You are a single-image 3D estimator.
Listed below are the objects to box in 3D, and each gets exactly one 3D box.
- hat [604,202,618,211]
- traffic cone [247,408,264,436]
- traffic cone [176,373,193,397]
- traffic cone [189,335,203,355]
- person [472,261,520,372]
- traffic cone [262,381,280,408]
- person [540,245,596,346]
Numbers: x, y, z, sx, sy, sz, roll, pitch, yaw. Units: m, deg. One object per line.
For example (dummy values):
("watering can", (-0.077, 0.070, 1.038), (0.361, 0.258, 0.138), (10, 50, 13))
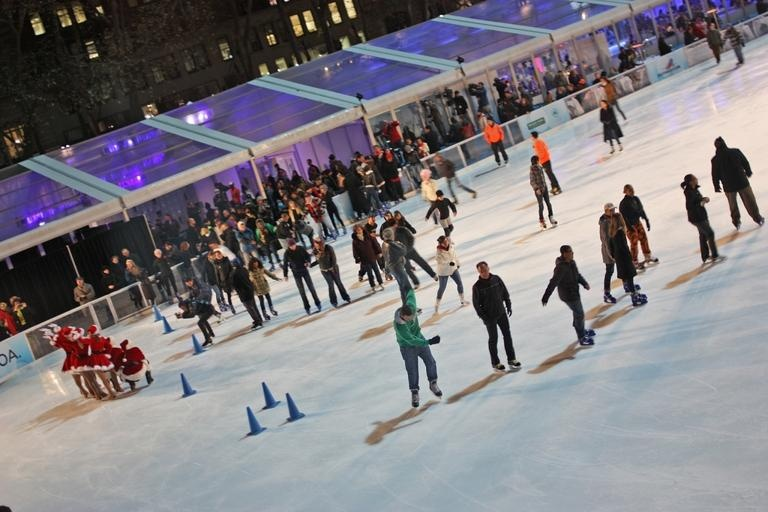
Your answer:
("hat", (5.788, -1.275, 22.972), (0.234, 0.175, 0.320), (-11, 7, -29))
("traffic cone", (-3.457, 4.219, 22.994), (0.463, 0.666, 0.624), (-19, 8, -12))
("traffic cone", (-5.918, 3.841, 26.194), (0.478, 0.565, 0.512), (-14, 14, 48))
("traffic cone", (-6.222, 2.844, 29.113), (0.354, 0.579, 1.172), (-19, 8, -12))
("person", (2.730, 1.484, 21.991), (0.743, 1.954, 0.830), (-9, 12, 46))
("traffic cone", (-3.089, 3.798, 24.006), (0.499, 0.573, 0.489), (-29, 6, -24))
("person", (4.588, 1.013, 22.014), (1.194, 2.542, 0.568), (-18, 8, -2))
